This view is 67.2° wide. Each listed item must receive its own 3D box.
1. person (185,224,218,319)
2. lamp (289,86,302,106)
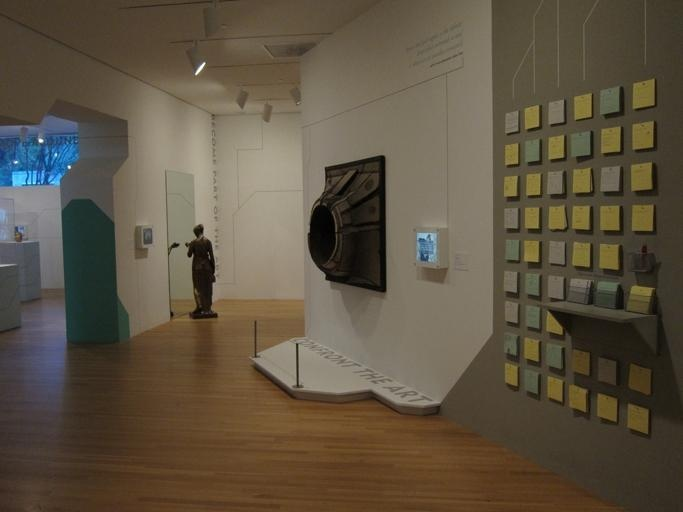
[{"bbox_3d":[-2.468,0.246,9.063,0.468,1.613,0.494,-4,7,-17],"label":"person"},{"bbox_3d":[-0.725,-2.574,8.319,0.225,0.120,0.477,7,-34,2],"label":"lamp"}]
